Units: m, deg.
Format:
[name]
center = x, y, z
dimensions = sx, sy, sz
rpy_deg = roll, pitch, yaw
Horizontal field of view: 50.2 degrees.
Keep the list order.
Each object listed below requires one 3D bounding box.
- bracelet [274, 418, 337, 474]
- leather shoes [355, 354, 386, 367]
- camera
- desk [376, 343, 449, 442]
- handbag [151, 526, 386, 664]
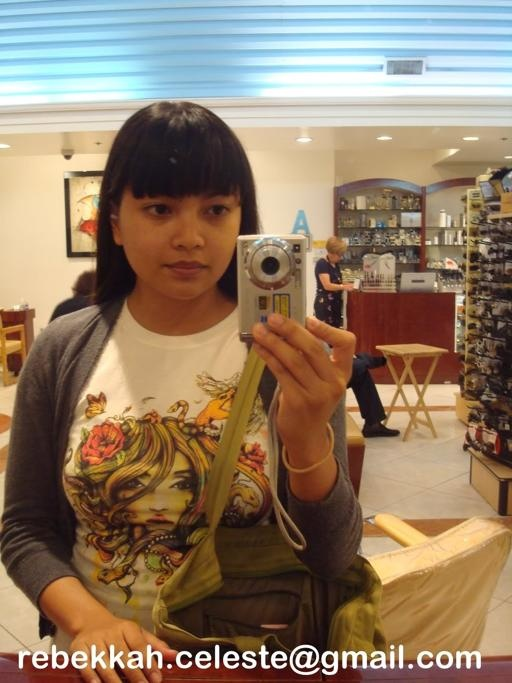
[bracelet]
center = 0.061, 0.123, 0.667
dimensions = 0.055, 0.070, 0.019
rpy_deg = -9, -13, 25
[leather shoes]
center = 0.924, 0.159, 4.441
dimensions = 0.213, 0.069, 0.149
rpy_deg = -8, 25, -28
[camera]
center = 0.021, -0.072, 0.685
dimensions = 0.086, 0.138, 0.053
rpy_deg = -2, 24, -2
[desk]
center = 1.378, 0.416, 5.024
dimensions = 0.432, 0.748, 0.650
rpy_deg = 13, -2, 6
[handbag]
center = 0.020, 0.292, 0.669
dimensions = 0.212, 0.086, 0.155
rpy_deg = -1, 10, 3
